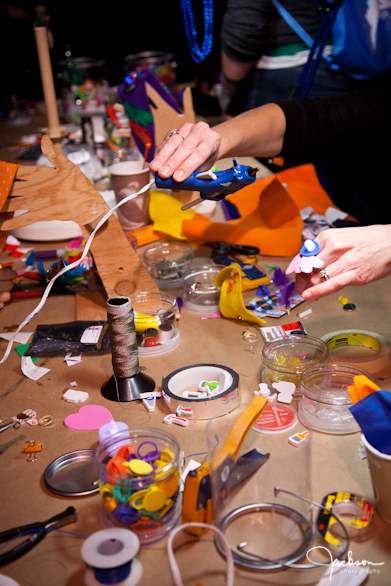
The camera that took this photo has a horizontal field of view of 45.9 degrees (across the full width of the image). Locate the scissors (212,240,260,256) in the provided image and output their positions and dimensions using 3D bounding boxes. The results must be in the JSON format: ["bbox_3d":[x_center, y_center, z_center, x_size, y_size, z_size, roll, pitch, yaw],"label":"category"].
[{"bbox_3d":[0.103,-0.121,1.272,0.097,0.019,0.054,5,15,20],"label":"scissors"}]

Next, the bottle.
[{"bbox_3d":[-0.072,0.220,0.567,0.078,0.112,0.096,25,26,38],"label":"bottle"}]

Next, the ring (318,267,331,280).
[{"bbox_3d":[0.217,-0.032,0.785,0.007,0.016,0.019,-32,67,18],"label":"ring"}]

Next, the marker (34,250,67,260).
[{"bbox_3d":[-0.436,-0.116,1.375,0.052,0.012,0.049,8,15,31],"label":"marker"}]

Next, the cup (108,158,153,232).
[{"bbox_3d":[-0.183,-0.301,1.453,0.097,0.219,0.138,-25,33,-39],"label":"cup"}]

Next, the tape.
[{"bbox_3d":[0.009,0.157,0.763,0.127,0.046,0.132,-4,31,-8],"label":"tape"}]

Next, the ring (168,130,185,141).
[{"bbox_3d":[-0.035,-0.312,0.922,0.031,0.017,0.027,-21,45,-36],"label":"ring"}]
